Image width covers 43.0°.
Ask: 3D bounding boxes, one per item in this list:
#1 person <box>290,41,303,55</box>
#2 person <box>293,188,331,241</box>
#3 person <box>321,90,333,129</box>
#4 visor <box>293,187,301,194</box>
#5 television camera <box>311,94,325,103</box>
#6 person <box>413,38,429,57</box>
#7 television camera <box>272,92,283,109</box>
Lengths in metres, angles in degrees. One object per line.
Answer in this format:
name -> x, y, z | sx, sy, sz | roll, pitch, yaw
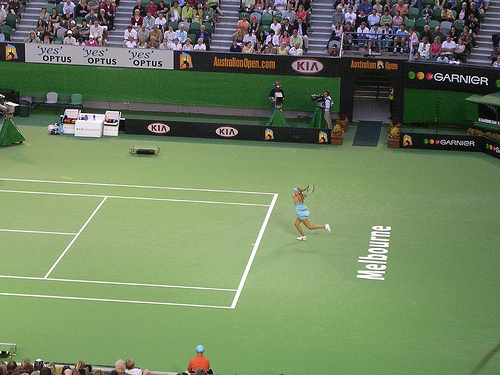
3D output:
person -> 2.647, -7.925, 36.406 | 0.681, 1.303, 0.707 | 0, -7, 7
person -> 2.216, 1.041, 23.114 | 1.323, 1.957, 0.657 | 0, 1, 19
person -> 4.094, -4.099, 33.568 | 0.533, 1.971, 0.822 | 10, 14, 21
visor -> 1.674, 0.136, 22.784 | 0.195, 0.052, 0.118 | 33, 1, -16
television camera -> 3.550, -4.674, 33.171 | 0.740, 0.378, 0.414 | 5, 13, -8
person -> 9.460, -7.806, 35.046 | 0.793, 1.072, 1.496 | 8, 14, 11
television camera -> 1.532, -4.618, 33.956 | 0.407, 0.844, 0.428 | 5, 13, -3
